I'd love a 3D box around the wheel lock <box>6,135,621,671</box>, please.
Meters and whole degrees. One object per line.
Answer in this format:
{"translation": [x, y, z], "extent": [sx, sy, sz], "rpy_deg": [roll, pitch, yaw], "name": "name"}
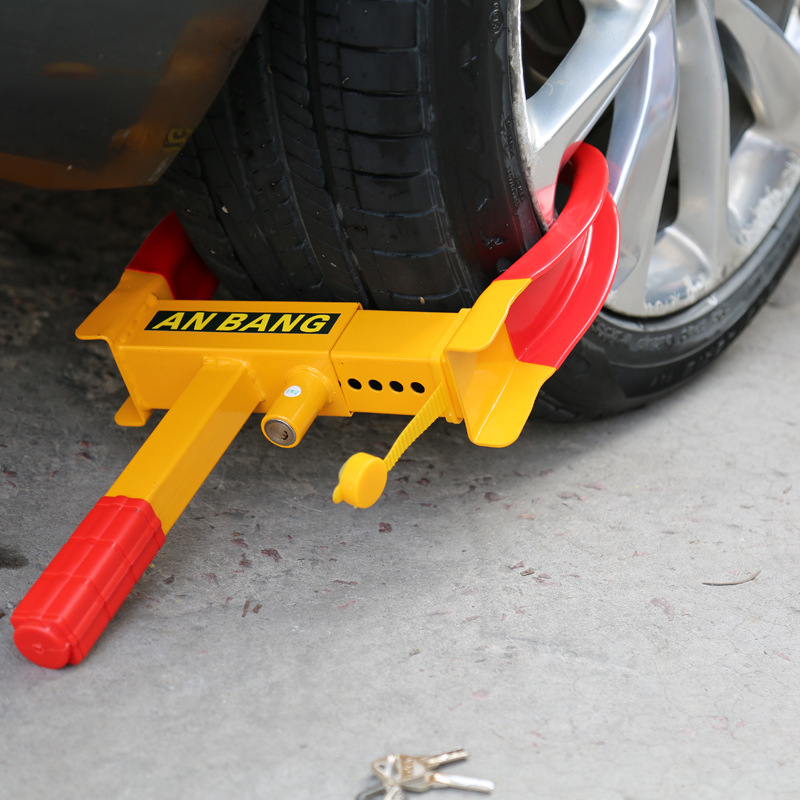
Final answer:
{"translation": [-0.038, 0.011, 1.328], "extent": [0.602, 0.140, 0.862], "rpy_deg": [10, 38, 35], "name": "wheel lock"}
